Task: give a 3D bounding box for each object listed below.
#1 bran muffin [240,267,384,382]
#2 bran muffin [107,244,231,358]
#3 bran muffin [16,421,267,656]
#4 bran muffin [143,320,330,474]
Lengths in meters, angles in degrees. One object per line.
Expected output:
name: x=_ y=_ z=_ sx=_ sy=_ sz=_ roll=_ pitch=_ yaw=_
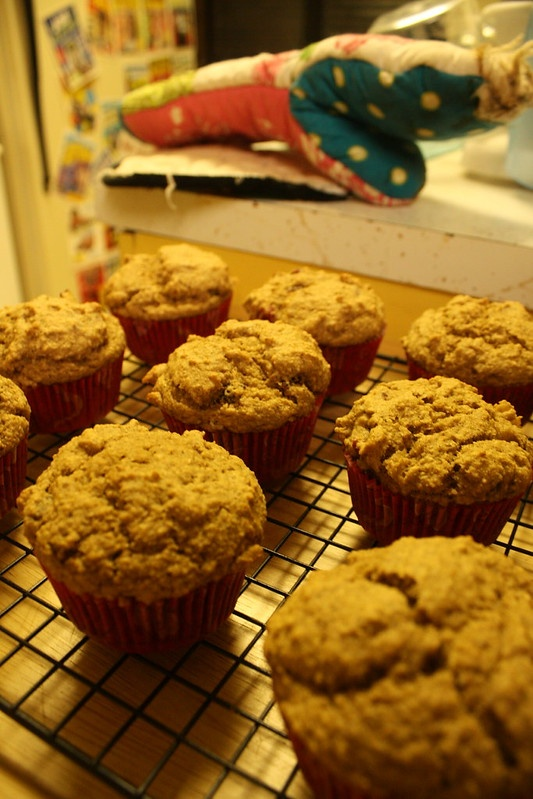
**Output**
bran muffin: x=0.136 y=-0.247 z=1.920 sx=0.367 sy=0.266 sz=0.325 roll=-6 pitch=25 yaw=-27
bran muffin: x=-0.275 y=-0.323 z=2.111 sx=0.346 sy=0.300 sz=0.378 roll=7 pitch=12 yaw=31
bran muffin: x=-0.210 y=0.238 z=1.236 sx=0.458 sy=0.325 sz=0.464 roll=7 pitch=19 yaw=15
bran muffin: x=-0.068 y=0.010 z=1.598 sx=0.399 sy=0.289 sz=0.367 roll=-7 pitch=14 yaw=-20
